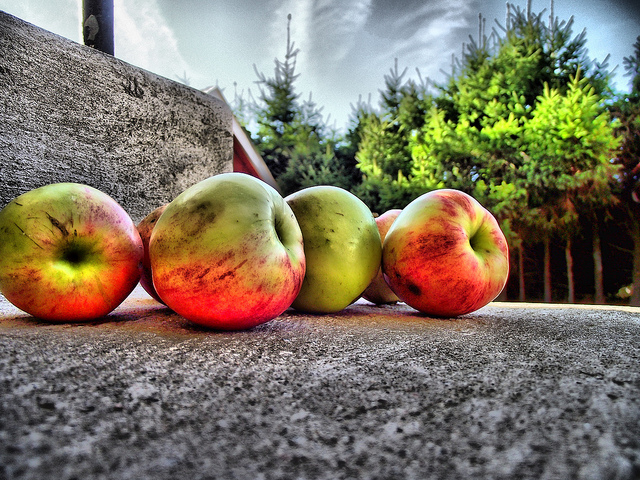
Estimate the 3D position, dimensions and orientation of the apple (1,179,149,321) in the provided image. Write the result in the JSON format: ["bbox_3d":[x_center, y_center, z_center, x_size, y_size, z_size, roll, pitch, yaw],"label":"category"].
[{"bbox_3d":[-0.831,0.056,1.733,0.424,0.449,0.412,3,-6,-26],"label":"apple"}]
